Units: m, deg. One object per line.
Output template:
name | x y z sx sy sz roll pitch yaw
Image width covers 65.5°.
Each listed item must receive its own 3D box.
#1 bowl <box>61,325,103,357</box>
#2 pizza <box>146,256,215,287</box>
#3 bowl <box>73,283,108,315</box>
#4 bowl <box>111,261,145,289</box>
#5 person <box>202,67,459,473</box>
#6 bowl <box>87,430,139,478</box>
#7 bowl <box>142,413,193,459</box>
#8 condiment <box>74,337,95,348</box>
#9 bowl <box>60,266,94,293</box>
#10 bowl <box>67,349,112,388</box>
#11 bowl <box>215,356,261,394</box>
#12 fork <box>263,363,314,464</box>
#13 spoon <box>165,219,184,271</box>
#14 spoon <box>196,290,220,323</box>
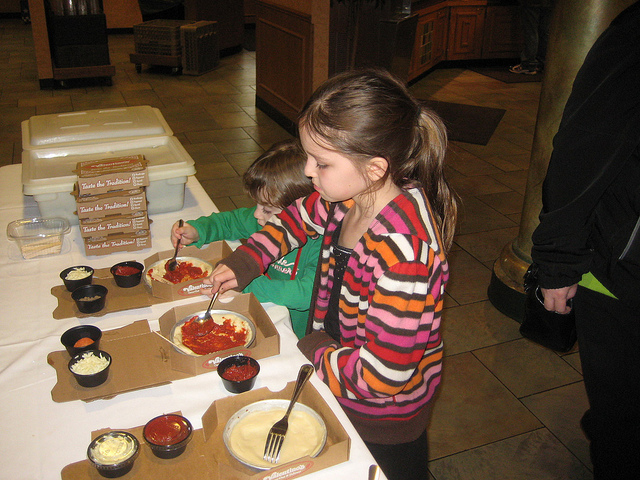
bowl | -0.700 0.293 1.463 0.090 0.036 0.087 4 37 -3
pizza | -0.516 0.114 1.826 0.141 0.030 0.132 -2 25 -5
bowl | -0.762 0.188 1.649 0.097 0.046 0.094 2 33 -1
bowl | -0.685 0.119 1.780 0.095 0.062 0.122 -3 29 -3
person | 0.152 0.137 1.476 0.475 1.157 0.575 5 31 10
bowl | -0.499 0.524 1.213 0.104 0.051 0.112 -1 29 0
bowl | -0.381 0.492 1.250 0.113 0.047 0.110 -1 29 0
condiment | -0.691 0.302 1.453 0.050 0.017 0.059 -16 32 -26
bowl | -0.833 0.127 1.710 0.094 0.042 0.090 1 23 -1
bowl | -0.642 0.352 1.386 0.104 0.048 0.099 2 36 -1
bowl | -0.241 0.391 1.437 0.133 0.071 0.106 -3 29 -4
fork | -0.060 0.454 1.321 0.054 0.039 0.358 12 40 13
spoon | -0.548 0.024 1.904 0.043 0.025 0.177 2 72 19
spoon | -0.369 0.221 1.645 0.029 0.020 0.138 30 63 -19
